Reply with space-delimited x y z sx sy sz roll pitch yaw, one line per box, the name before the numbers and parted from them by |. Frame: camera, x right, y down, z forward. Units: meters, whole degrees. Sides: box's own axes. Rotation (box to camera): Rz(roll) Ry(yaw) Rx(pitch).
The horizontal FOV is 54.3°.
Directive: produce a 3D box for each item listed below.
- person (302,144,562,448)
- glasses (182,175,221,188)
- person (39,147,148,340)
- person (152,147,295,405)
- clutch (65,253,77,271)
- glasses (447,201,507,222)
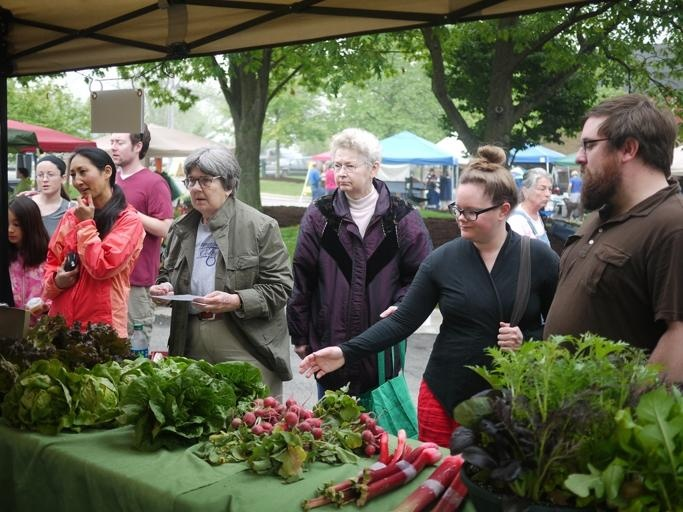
person | 0.759 0.215 3.607 0.783 1.628 0.415 2 5 20
glasses | -0.955 -0.480 4.378 0.165 0.083 0.358 -3 5 -41
person | -1.655 -0.086 4.439 0.651 1.287 0.485 -1 5 -21
person | -0.753 0.111 4.359 0.863 1.637 0.550 0 5 -10
clutch | -1.785 0.034 4.379 0.085 0.115 0.042 -1 5 -20
glasses | 0.689 -0.241 3.580 0.180 0.099 0.312 -3 5 -40
